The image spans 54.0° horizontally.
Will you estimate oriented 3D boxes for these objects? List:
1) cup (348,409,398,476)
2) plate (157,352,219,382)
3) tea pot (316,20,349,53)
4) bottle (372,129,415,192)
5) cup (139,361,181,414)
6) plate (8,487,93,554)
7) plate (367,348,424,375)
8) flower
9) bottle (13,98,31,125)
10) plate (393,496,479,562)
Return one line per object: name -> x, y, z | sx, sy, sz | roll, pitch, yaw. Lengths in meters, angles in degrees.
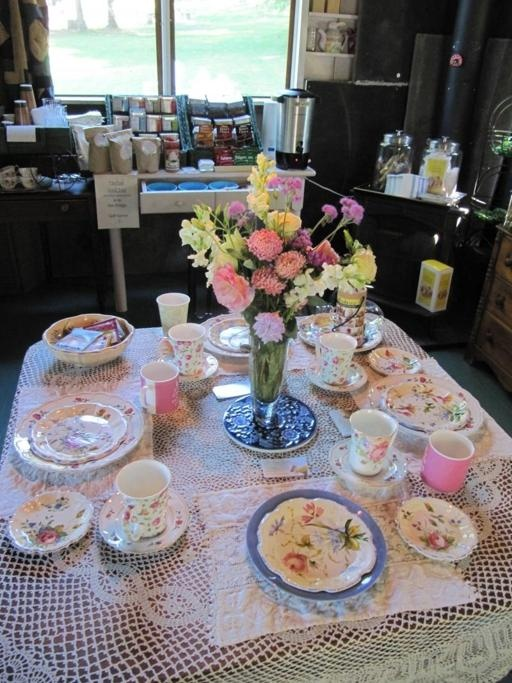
cup -> 0.202, 0.181, 0.930 | 0.115, 0.108, 0.095 | 8, 42, 9
plate -> -0.135, 0.063, 1.215 | 0.084, 0.019, 0.086 | 30, 31, 29
tea pot -> 0.492, -1.968, 3.311 | 0.214, 0.210, 0.156 | -2, 68, -1
bottle -> 0.766, -1.029, 2.875 | 0.202, 0.303, 0.280 | 23, 36, 36
cup -> -0.196, 0.094, 1.029 | 0.076, 0.082, 0.114 | 7, 35, 4
plate -> -0.304, 0.256, 0.734 | 0.081, 0.018, 0.076 | -9, 31, -22
plate -> 0.347, 0.052, 1.272 | 0.088, 0.019, 0.080 | -2, 32, -11
flower -> 0.046, -0.056, 0.971 | 0.378, 0.454, 0.323 | -4, 8, 14
bottle -> -1.219, -1.187, 2.608 | 0.086, 0.112, 0.174 | -12, 30, -20
plate -> 0.279, 0.288, 0.772 | 0.080, 0.019, 0.078 | 22, 32, 27
